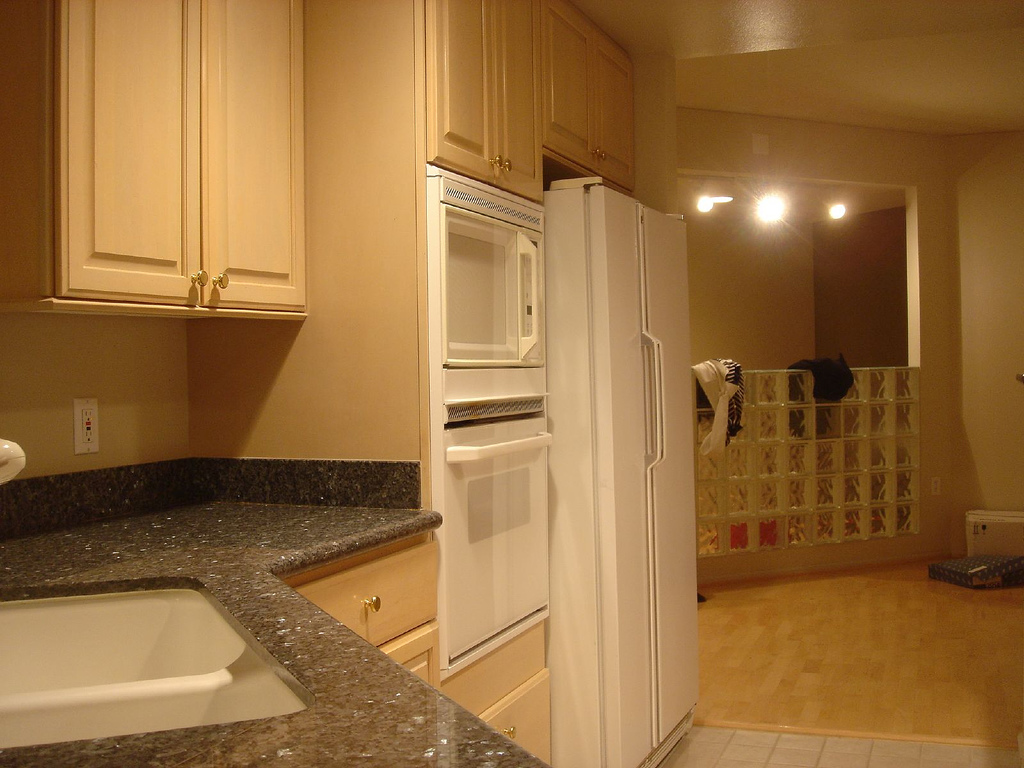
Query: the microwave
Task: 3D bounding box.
[{"bbox_3d":[-0.118,-0.311,2.329,0.246,0.531,0.579,0,2,39],"label":"microwave"}]
